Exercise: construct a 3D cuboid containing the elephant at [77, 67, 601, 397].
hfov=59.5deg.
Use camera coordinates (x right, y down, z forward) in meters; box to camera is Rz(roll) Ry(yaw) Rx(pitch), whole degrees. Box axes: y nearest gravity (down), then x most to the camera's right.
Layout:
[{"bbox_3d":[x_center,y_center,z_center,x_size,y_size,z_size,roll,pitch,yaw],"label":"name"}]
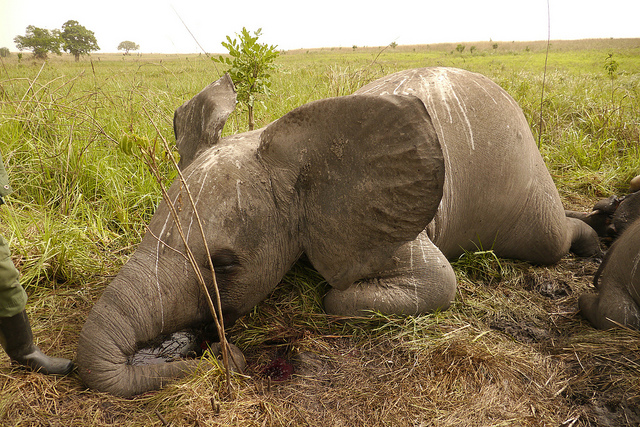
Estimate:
[{"bbox_3d":[0.377,-0.031,4.709,4.596,2.164,2.557,-14,23,-29],"label":"elephant"}]
